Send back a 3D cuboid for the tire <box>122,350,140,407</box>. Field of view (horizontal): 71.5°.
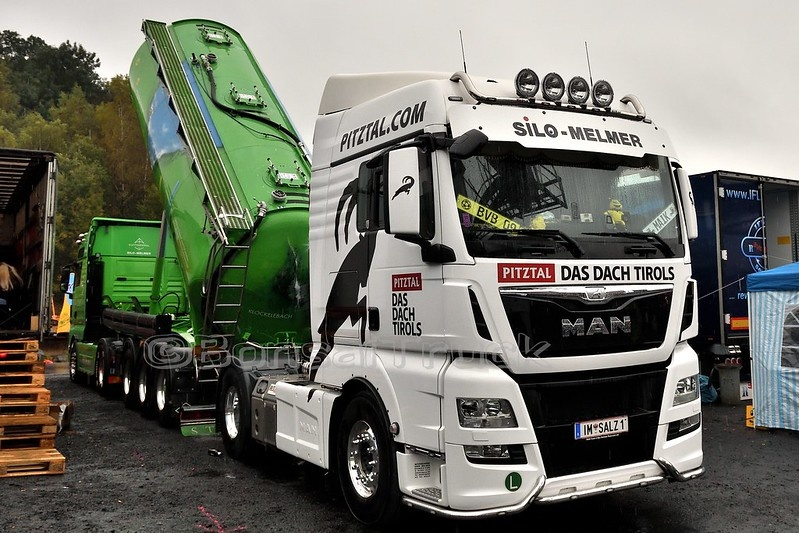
[{"bbox_3d":[-6.082,2.536,12.591,0.360,1.156,1.107,8,-5,-17],"label":"tire"}]

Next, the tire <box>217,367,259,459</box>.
[{"bbox_3d":[-2.484,2.278,8.644,0.460,1.548,1.310,-3,-2,-36],"label":"tire"}]

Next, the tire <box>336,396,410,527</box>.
[{"bbox_3d":[-0.267,2.150,6.119,0.409,1.505,1.243,-3,13,-21],"label":"tire"}]

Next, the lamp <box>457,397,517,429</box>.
[{"bbox_3d":[0.832,1.409,5.341,0.311,0.171,0.413,3,-4,-23],"label":"lamp"}]

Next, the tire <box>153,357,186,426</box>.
[{"bbox_3d":[-4.221,2.288,10.249,0.457,1.489,1.385,-1,2,-36],"label":"tire"}]
